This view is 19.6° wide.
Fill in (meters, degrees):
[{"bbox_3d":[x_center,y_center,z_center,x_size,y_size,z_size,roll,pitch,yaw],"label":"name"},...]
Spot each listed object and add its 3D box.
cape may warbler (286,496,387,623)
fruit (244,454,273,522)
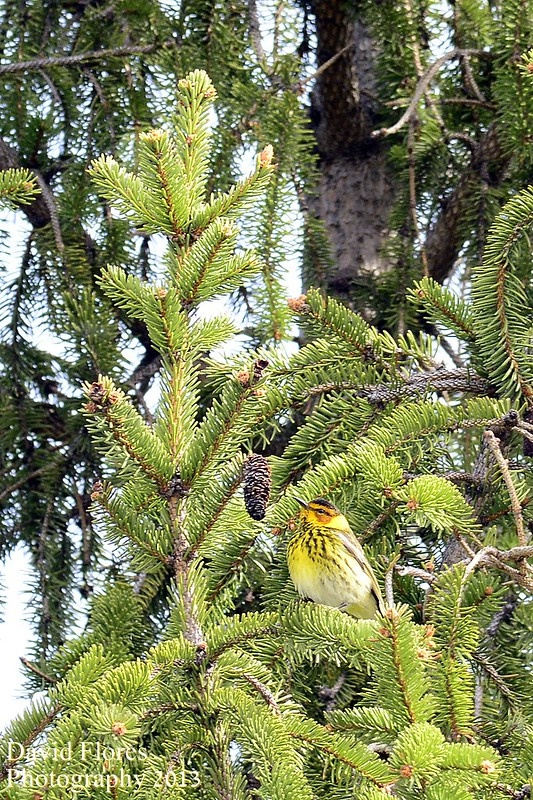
[{"bbox_3d":[0.193,0.451,4.527,0.213,0.401,0.393,-11,-18,43],"label":"cape may warbler"},{"bbox_3d":[-0.025,0.238,3.957,0.068,0.131,0.187,0,-38,-6],"label":"fruit"}]
